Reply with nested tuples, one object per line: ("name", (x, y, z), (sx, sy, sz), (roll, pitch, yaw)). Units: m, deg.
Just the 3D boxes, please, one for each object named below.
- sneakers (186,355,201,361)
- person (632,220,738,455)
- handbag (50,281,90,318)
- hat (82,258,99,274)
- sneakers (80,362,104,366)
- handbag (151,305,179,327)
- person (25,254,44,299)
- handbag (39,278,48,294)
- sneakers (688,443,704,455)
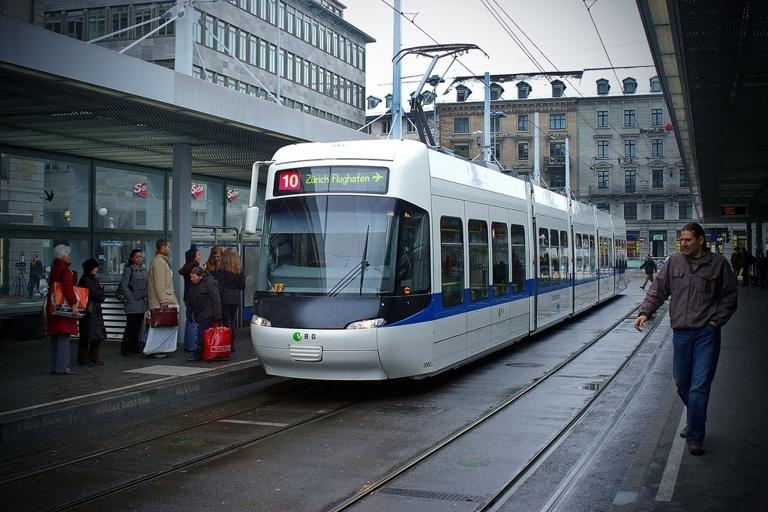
("sneakers", (-3.997, 2.128, 12.760), (0.303, 0.137, 0.133), (2, -2, 19))
("person", (3.487, 0.919, 6.934), (0.928, 2.786, 0.491), (-2, 0, 28))
("handbag", (-5.662, 0.771, 11.192), (0.654, 0.565, 0.250), (6, 12, 5))
("hat", (-5.886, 0.205, 12.309), (0.271, 0.298, 0.334), (1, 12, 31))
("sneakers", (-5.762, 2.101, 12.043), (0.359, 0.098, 0.129), (-3, -5, 4))
("handbag", (-4.678, 1.282, 12.973), (0.480, 0.423, 0.169), (0, -3, -35))
("person", (-8.724, 0.495, 15.244), (0.345, 0.821, 0.349), (-2, -1, 40))
("handbag", (-8.475, 0.736, 15.172), (0.306, 0.383, 0.090), (-3, 8, -35))
("sneakers", (3.508, 2.156, 6.861), (0.174, 0.138, 0.175), (-2, -1, 24))
